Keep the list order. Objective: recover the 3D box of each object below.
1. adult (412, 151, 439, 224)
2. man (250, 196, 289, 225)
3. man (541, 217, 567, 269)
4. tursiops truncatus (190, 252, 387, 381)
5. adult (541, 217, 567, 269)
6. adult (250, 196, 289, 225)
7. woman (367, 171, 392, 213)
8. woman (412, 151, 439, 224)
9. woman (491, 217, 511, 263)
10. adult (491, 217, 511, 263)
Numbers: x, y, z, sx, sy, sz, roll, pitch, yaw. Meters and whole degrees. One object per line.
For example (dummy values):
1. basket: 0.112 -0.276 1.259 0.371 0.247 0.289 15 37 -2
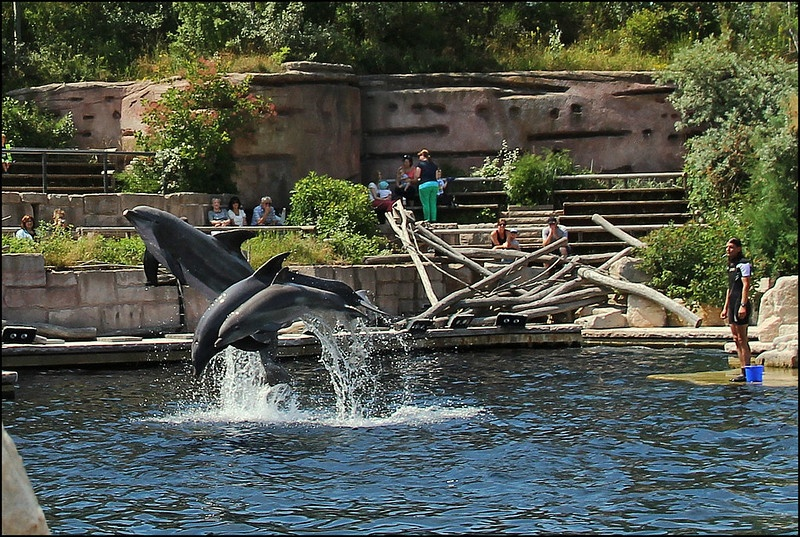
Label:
1. adult: 0.738 -2.308 45.031 0.790 2.055 0.727 -11 18 -40
2. man: -3.715 -1.535 44.354 0.740 0.812 1.033 -3 0 -37
3. man: 4.111 -0.708 41.765 0.658 1.249 1.481 -3 4 5
4. tursiops truncatus: -2.594 0.754 33.407 4.584 1.926 1.539 -25 32 -29
5. adult: 4.114 -0.708 41.751 0.656 1.249 1.511 -3 4 5
6. adult: -3.755 -1.542 44.348 0.740 0.812 1.033 -3 0 -37
7. woman: -0.485 -1.961 45.633 0.754 1.191 0.464 8 23 1
8. woman: 0.754 -2.317 45.021 0.754 2.052 0.795 10 17 32
9. woman: 2.665 -0.918 42.169 0.447 0.775 0.990 -3 4 3
10. adult: 2.677 -0.919 42.181 0.420 0.775 0.963 -4 4 -2
